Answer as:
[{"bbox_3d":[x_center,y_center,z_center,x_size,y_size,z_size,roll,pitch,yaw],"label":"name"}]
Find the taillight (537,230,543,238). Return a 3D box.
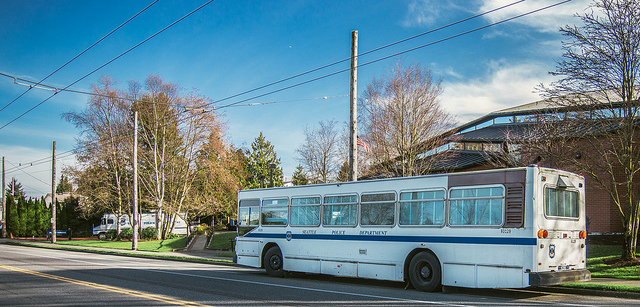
[{"bbox_3d":[13.492,4.918,29.987,0.365,0.458,0.052,1,-2,-23],"label":"taillight"}]

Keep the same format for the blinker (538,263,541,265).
[{"bbox_3d":[13.366,6.707,29.818,0.153,0.124,0.145,-4,0,-22],"label":"blinker"}]

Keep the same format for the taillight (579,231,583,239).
[{"bbox_3d":[16.690,5.190,31.298,0.285,0.435,0.032,1,-2,-17],"label":"taillight"}]
